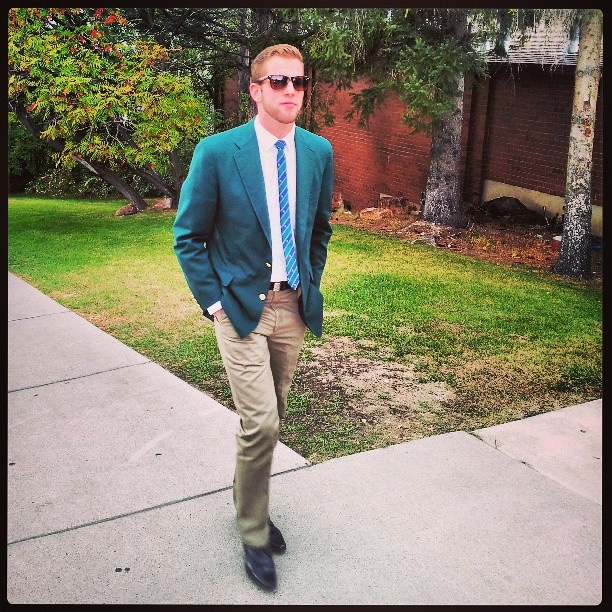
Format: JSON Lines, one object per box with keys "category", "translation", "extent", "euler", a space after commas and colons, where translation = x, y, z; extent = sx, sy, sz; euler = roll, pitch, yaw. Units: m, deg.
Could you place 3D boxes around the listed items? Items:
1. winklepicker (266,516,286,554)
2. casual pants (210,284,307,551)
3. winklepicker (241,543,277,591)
{"category": "winklepicker", "translation": [-0.138, 1.098, 2.682], "extent": [0.047, 0.058, 0.140], "euler": [-9, 5, -23]}
{"category": "casual pants", "translation": [-0.171, 0.518, 2.645], "extent": [0.436, 1.166, 0.444], "euler": [-5, 14, -23]}
{"category": "winklepicker", "translation": [-0.207, 1.127, 2.496], "extent": [0.078, 0.089, 0.215], "euler": [10, 10, -31]}
